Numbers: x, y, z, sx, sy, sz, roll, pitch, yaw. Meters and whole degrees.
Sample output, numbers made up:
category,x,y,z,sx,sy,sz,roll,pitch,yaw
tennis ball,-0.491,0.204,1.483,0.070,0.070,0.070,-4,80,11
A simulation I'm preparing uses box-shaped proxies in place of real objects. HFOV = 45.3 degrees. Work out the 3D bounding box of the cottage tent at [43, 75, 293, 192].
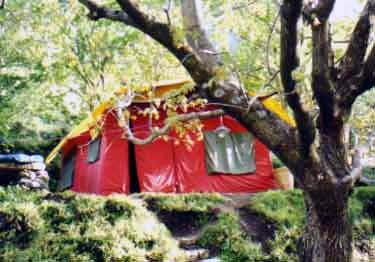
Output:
category,x,y,z,sx,sy,sz,roll,pitch,yaw
cottage tent,-0.945,0.977,17.369,4.604,2.425,6.994,2,-6,-27
